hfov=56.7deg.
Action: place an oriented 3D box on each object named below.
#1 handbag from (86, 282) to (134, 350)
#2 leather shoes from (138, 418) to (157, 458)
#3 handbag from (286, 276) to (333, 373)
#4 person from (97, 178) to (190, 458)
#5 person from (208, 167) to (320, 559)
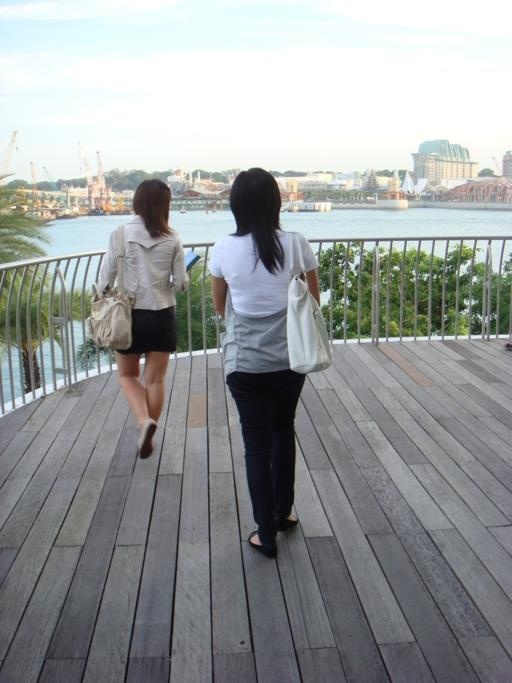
[{"bbox_3d":[-0.809,-0.102,2.630,0.166,0.413,0.253,17,-25,-40],"label":"handbag"},{"bbox_3d":[-0.611,0.529,2.654,0.067,0.299,0.099,5,10,-15],"label":"leather shoes"},{"bbox_3d":[0.173,-0.051,1.517,0.078,0.312,0.199,-4,11,25],"label":"handbag"},{"bbox_3d":[-0.635,-0.122,2.698,0.504,1.529,0.344,-3,7,-22],"label":"person"},{"bbox_3d":[0.033,0.121,1.640,0.370,1.357,0.303,-5,8,-37],"label":"person"}]
